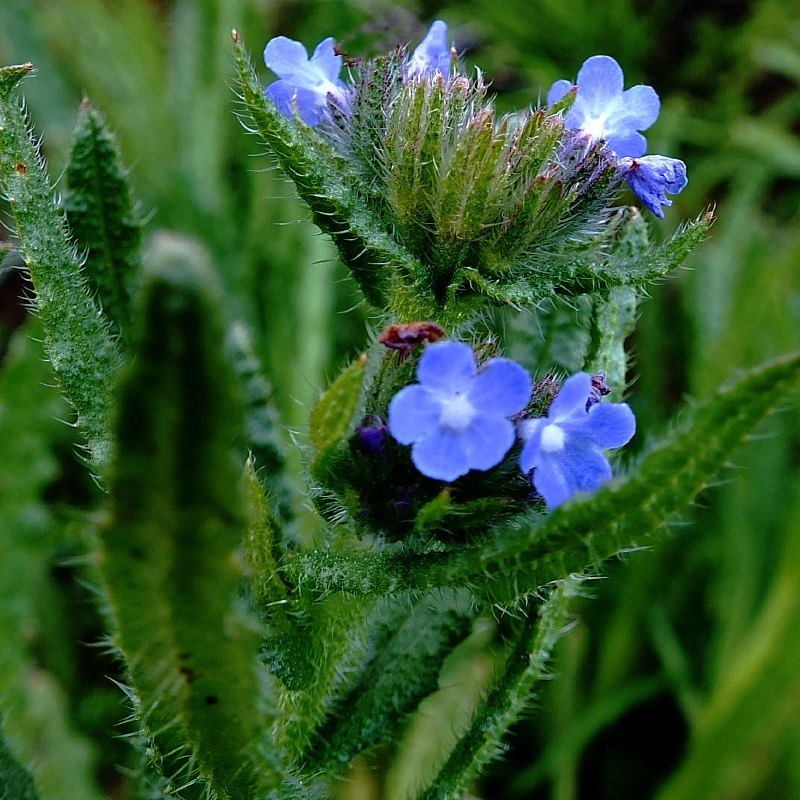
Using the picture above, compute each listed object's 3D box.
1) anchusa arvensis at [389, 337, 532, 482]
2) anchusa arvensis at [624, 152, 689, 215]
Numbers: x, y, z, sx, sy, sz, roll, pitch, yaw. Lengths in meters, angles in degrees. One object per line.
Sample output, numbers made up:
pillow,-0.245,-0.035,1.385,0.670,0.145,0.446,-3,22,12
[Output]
anchusa arvensis,0.063,0.012,1.234,0.137,0.098,0.119,24,58,4
anchusa arvensis,0.325,-0.273,1.407,0.095,0.077,0.044,36,101,41
